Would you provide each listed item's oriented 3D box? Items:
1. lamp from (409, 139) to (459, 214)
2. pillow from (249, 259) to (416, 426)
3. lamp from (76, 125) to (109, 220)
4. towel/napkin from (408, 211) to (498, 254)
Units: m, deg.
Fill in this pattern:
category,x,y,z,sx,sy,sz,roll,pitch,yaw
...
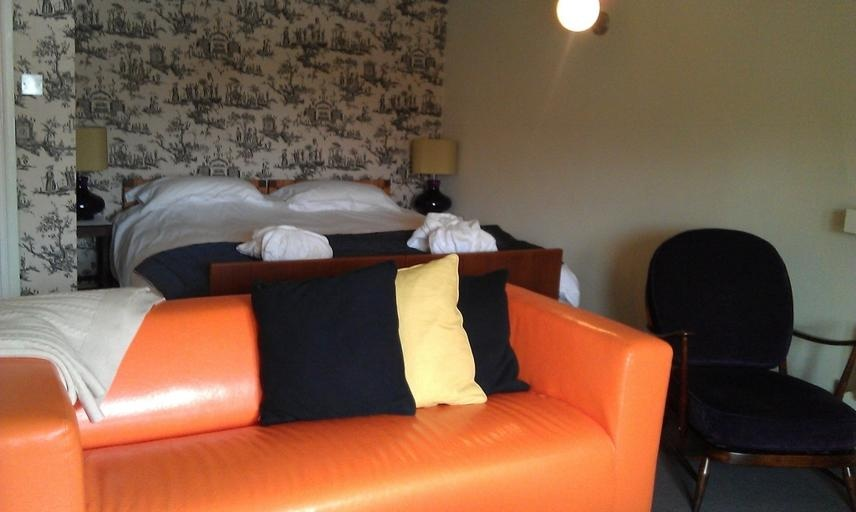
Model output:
category,x,y,z,sx,sy,sz,roll,pitch,yaw
lamp,0.055,-0.793,6.244,0.505,0.781,0.485,2,7,-2
pillow,-0.442,0.393,2.834,0.718,0.670,0.209,-6,-4,-7
lamp,-2.792,-0.690,4.972,0.254,0.776,0.456,-5,11,-29
towel/napkin,0.179,-0.145,3.827,0.419,0.119,0.311,-1,13,-26
